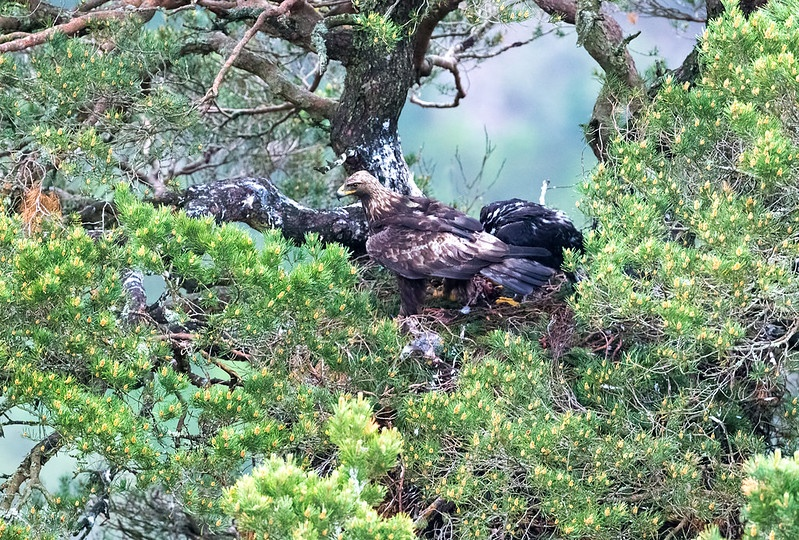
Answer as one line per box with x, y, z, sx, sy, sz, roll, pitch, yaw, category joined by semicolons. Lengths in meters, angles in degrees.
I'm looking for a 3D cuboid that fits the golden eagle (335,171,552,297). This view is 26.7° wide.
0.450;-0.310;15.040;1.816;1.149;0.786;2;21;9;golden eagle
